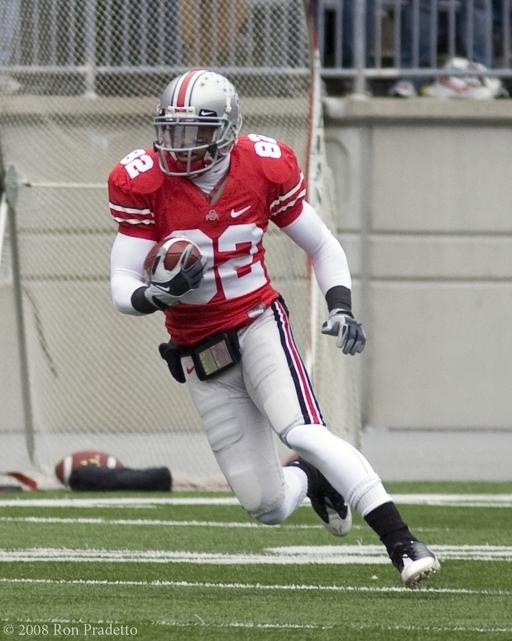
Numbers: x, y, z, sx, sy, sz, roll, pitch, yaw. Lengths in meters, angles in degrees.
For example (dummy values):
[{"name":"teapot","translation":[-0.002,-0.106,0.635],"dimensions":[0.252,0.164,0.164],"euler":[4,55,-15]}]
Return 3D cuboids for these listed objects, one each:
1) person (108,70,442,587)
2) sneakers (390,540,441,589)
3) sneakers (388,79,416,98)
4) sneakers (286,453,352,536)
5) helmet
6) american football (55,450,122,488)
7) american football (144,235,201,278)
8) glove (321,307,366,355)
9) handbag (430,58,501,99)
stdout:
[{"name":"person","translation":[0.011,0.025,3.709],"dimensions":[0.873,1.632,0.733],"euler":[-2,12,13]},{"name":"sneakers","translation":[0.460,0.696,3.351],"dimensions":[0.122,0.130,0.152],"euler":[-5,11,-5]},{"name":"sneakers","translation":[0.874,-1.350,6.840],"dimensions":[0.117,0.065,0.125],"euler":[5,46,8]},{"name":"sneakers","translation":[0.249,0.619,4.148],"dimensions":[0.121,0.292,0.214],"euler":[-47,2,-11]},{"name":"helmet","translation":[-0.177,-0.620,3.671],"dimensions":[0.316,0.326,0.182],"euler":[-8,12,-19]},{"name":"american football","translation":[-0.785,0.694,5.483],"dimensions":[0.302,0.138,0.137],"euler":[1,0,-22]},{"name":"american football","translation":[-0.253,-0.182,3.497],"dimensions":[0.156,0.113,0.119],"euler":[-17,-5,23]},{"name":"glove","translation":[0.275,0.045,3.642],"dimensions":[0.126,0.149,0.143],"euler":[-7,12,-10]},{"name":"handbag","translation":[1.249,-1.416,6.951],"dimensions":[0.420,0.167,0.246],"euler":[2,-2,-2]}]
